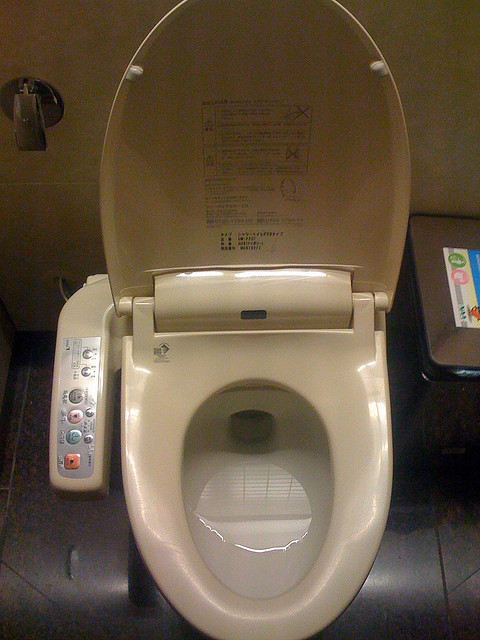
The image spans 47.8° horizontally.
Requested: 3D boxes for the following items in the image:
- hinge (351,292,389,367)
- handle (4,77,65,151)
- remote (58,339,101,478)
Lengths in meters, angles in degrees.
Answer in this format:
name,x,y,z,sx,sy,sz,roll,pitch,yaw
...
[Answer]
name,x,y,z,sx,sy,sz,roll,pitch,yaw
hinge,0.199,0.013,0.769,0.044,0.084,0.037,-9,3,-25
handle,-0.288,-0.293,0.738,0.054,0.108,0.036,1,25,-3
remote,-0.233,0.104,0.793,0.059,0.287,0.060,1,35,-16
